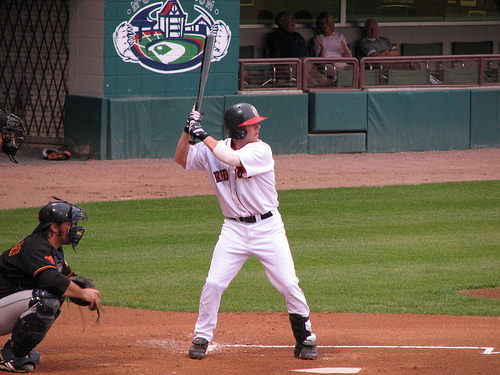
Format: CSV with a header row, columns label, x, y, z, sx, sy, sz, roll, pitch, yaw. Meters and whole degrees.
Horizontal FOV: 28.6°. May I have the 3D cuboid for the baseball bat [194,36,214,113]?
label,x,y,z,sx,sy,sz,roll,pitch,yaw
baseball bat,-0.524,-1.320,11.146,0.079,0.886,0.095,20,22,22

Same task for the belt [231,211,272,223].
label,x,y,z,sx,sy,sz,roll,pitch,yaw
belt,0.020,0.319,10.532,0.428,0.128,0.063,2,3,6

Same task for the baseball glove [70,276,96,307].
label,x,y,z,sx,sy,sz,roll,pitch,yaw
baseball glove,-1.777,1.125,10.452,0.233,0.313,0.155,31,-11,28

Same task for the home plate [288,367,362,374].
label,x,y,z,sx,sy,sz,roll,pitch,yaw
home plate,0.809,1.934,10.298,0.713,0.037,0.180,1,2,2

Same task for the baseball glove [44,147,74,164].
label,x,y,z,sx,sy,sz,roll,pitch,yaw
baseball glove,-3.653,-0.631,18.789,0.517,0.294,0.573,1,3,-12

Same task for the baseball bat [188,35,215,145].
label,x,y,z,sx,sy,sz,roll,pitch,yaw
baseball bat,-0.558,-1.189,10.996,0.185,1.547,0.137,6,-26,18
